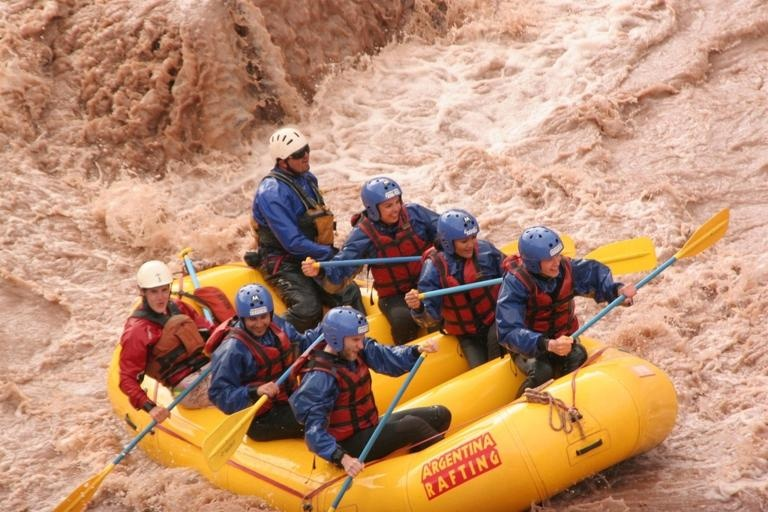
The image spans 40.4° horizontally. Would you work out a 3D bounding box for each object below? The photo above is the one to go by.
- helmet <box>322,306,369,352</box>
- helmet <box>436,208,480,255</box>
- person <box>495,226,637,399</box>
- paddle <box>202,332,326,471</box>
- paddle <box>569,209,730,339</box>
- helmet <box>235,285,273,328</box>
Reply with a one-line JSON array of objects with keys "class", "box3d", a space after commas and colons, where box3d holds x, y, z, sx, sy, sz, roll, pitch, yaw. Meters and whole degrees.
[{"class": "helmet", "box3d": [-0.393, 0.707, 9.952, 0.445, 0.392, 0.333, 0, 5, 13]}, {"class": "helmet", "box3d": [0.764, -0.306, 10.884, 0.355, 0.416, 0.462, -32, 37, -32]}, {"class": "person", "box3d": [1.820, 0.636, 10.450, 1.052, 1.612, 0.953, -28, 28, -34]}, {"class": "paddle", "box3d": [-1.144, 1.441, 10.197, 1.483, 0.318, 0.067, -39, 4, -19]}, {"class": "paddle", "box3d": [2.968, 0.256, 11.383, 2.393, 0.373, 0.116, -36, -4, 9]}, {"class": "helmet", "box3d": [-1.308, 0.468, 10.328, 0.285, 0.352, 0.375, -9, 27, -19]}]
